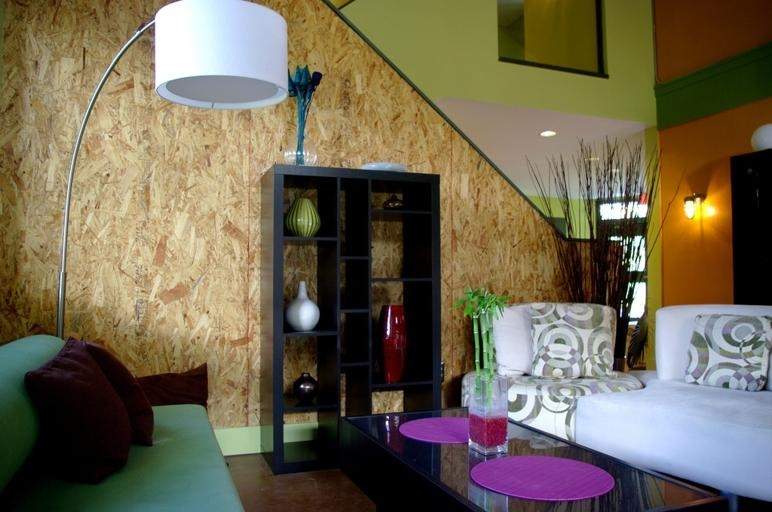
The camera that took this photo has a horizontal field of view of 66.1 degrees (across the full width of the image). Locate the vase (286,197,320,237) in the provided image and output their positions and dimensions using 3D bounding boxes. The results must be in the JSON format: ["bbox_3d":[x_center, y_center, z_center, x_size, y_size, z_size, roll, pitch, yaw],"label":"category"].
[{"bbox_3d":[-0.638,-0.297,4.506,0.269,0.308,0.271,-2,2,-26],"label":"vase"}]

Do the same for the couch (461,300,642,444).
[{"bbox_3d":[1.241,0.911,4.806,1.135,1.172,1.072,-1,-16,6],"label":"couch"}]

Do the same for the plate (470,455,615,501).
[{"bbox_3d":[0.749,1.052,2.858,0.677,0.100,0.404,0,-4,9],"label":"plate"}]

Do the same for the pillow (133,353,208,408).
[{"bbox_3d":[-1.408,0.796,4.090,0.301,0.110,0.358,20,13,9],"label":"pillow"}]

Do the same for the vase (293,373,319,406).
[{"bbox_3d":[-0.619,0.995,4.538,0.184,0.228,0.222,1,-3,-9],"label":"vase"}]

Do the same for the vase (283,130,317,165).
[{"bbox_3d":[-0.658,-0.824,4.533,0.179,0.263,0.185,3,8,-3],"label":"vase"}]

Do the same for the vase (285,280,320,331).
[{"bbox_3d":[-0.615,0.369,4.510,0.283,0.376,0.211,2,-3,-23],"label":"vase"}]

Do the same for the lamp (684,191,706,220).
[{"bbox_3d":[3.203,-0.531,6.162,0.219,0.270,0.077,-2,-4,38],"label":"lamp"}]
